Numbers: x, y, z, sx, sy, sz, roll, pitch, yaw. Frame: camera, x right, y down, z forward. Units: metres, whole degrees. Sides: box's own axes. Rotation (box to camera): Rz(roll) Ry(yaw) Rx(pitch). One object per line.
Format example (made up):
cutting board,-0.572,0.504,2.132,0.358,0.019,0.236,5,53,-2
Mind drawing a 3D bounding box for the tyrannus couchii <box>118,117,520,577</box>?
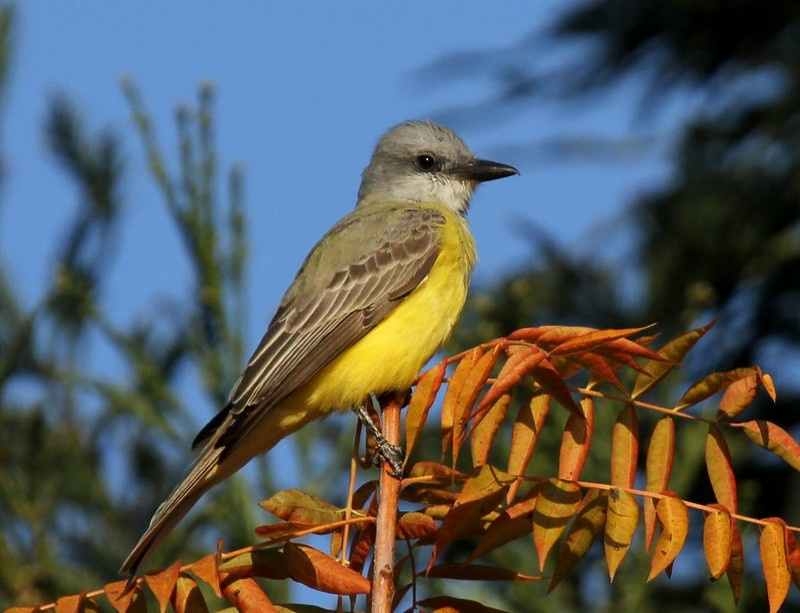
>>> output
tyrannus couchii,-0.274,-0.021,6.092,1.147,2.412,1.368,-3,11,-30
